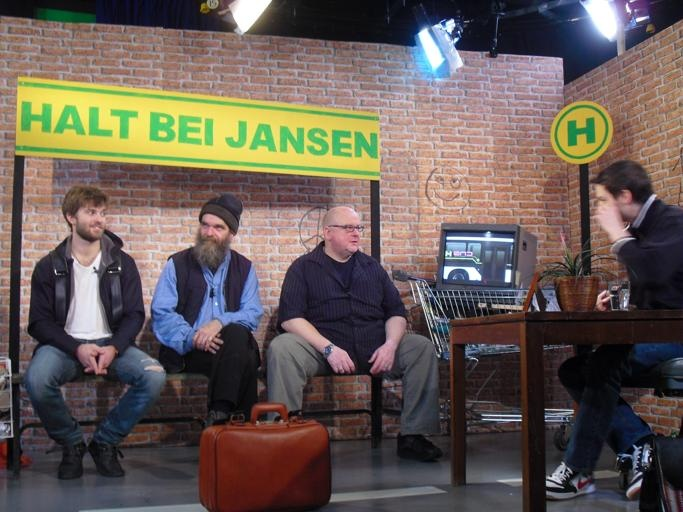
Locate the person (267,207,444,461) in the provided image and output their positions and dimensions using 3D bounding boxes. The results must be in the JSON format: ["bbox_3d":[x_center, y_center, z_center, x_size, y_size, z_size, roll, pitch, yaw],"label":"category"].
[{"bbox_3d":[0.088,0.516,5.001,1.231,1.787,0.696,1,0,-2],"label":"person"}]

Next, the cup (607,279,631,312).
[{"bbox_3d":[1.462,0.205,3.648,0.099,0.139,0.314,1,0,21],"label":"cup"}]

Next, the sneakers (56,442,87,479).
[{"bbox_3d":[-1.701,1.288,4.364,0.161,0.236,0.205,1,0,-15],"label":"sneakers"}]

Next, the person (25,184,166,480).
[{"bbox_3d":[-1.654,0.442,4.632,0.822,2.027,0.712,1,0,-23],"label":"person"}]

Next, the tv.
[{"bbox_3d":[1.320,0.067,6.075,0.852,0.602,0.860,2,-2,20],"label":"tv"}]

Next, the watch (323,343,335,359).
[{"bbox_3d":[-0.086,0.655,4.780,0.081,0.077,0.025,27,-7,-7],"label":"watch"}]

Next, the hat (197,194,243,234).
[{"bbox_3d":[-0.910,-0.349,5.270,0.285,0.248,0.241,28,-30,-26],"label":"hat"}]

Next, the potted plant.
[{"bbox_3d":[1.179,0.117,3.588,0.326,0.340,0.389,2,0,4],"label":"potted plant"}]

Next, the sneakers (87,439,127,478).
[{"bbox_3d":[-1.482,1.287,4.430,0.220,0.240,0.288,1,0,-37],"label":"sneakers"}]

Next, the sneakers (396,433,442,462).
[{"bbox_3d":[0.501,1.325,4.803,0.128,0.138,0.363,5,-9,-43],"label":"sneakers"}]
